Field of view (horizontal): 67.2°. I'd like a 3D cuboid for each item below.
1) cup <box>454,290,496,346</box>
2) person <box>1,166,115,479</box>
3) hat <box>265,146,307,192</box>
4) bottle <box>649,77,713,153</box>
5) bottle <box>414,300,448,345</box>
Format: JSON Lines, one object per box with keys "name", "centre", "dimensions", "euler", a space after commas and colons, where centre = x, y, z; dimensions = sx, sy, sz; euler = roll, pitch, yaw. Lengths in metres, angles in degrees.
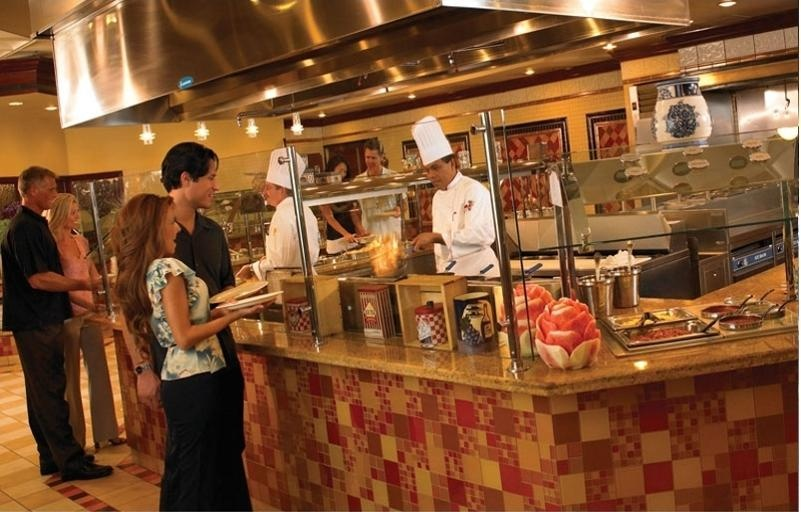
{"name": "cup", "centre": [0.455, 0.338, 3.302], "dimensions": [0.278, 0.277, 0.276], "euler": [-5, 0, 0]}
{"name": "person", "centre": [-2.854, 0.539, 4.901], "dimensions": [0.718, 2.111, 0.380], "euler": [-4, 3, -12]}
{"name": "hat", "centre": [-0.746, -0.547, 3.769], "dimensions": [0.292, 0.220, 0.269], "euler": [10, 9, 36]}
{"name": "bottle", "centre": [1.772, -0.901, 3.964], "dimensions": [0.463, 0.437, 0.435], "euler": [-6, 1, -29]}
{"name": "bottle", "centre": [0.187, 0.369, 3.415], "dimensions": [0.243, 0.235, 0.227], "euler": [-7, 2, -5]}
